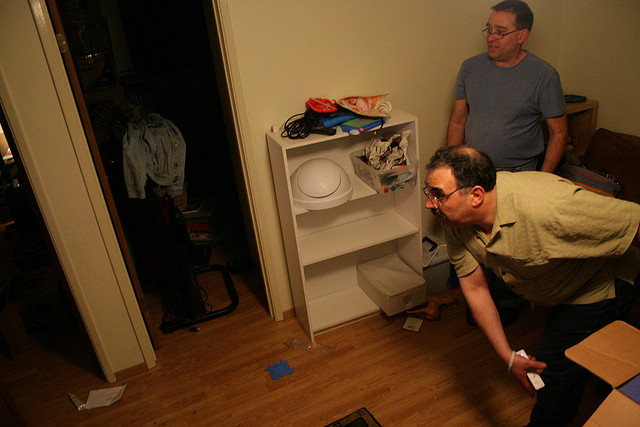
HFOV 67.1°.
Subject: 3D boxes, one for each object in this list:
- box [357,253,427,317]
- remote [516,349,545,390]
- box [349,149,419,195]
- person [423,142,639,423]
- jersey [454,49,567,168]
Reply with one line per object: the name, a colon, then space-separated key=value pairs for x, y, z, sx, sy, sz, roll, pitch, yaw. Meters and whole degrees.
box: x=0.648 y=0.621 z=4.453 sx=0.447 sy=0.244 sz=0.574 roll=-14 pitch=34 yaw=-22
remote: x=1.341 y=1.014 z=3.065 sx=0.115 sy=0.241 sz=0.217 roll=-13 pitch=31 yaw=-10
box: x=0.550 y=-0.393 z=4.190 sx=0.401 sy=0.252 sz=0.481 roll=-18 pitch=32 yaw=-19
person: x=1.451 y=0.525 z=3.314 sx=1.172 sy=1.862 sz=0.907 roll=-33 pitch=36 yaw=8
jersey: x=1.556 y=-0.865 z=4.010 sx=0.877 sy=0.848 sz=0.472 roll=24 pitch=47 yaw=38
